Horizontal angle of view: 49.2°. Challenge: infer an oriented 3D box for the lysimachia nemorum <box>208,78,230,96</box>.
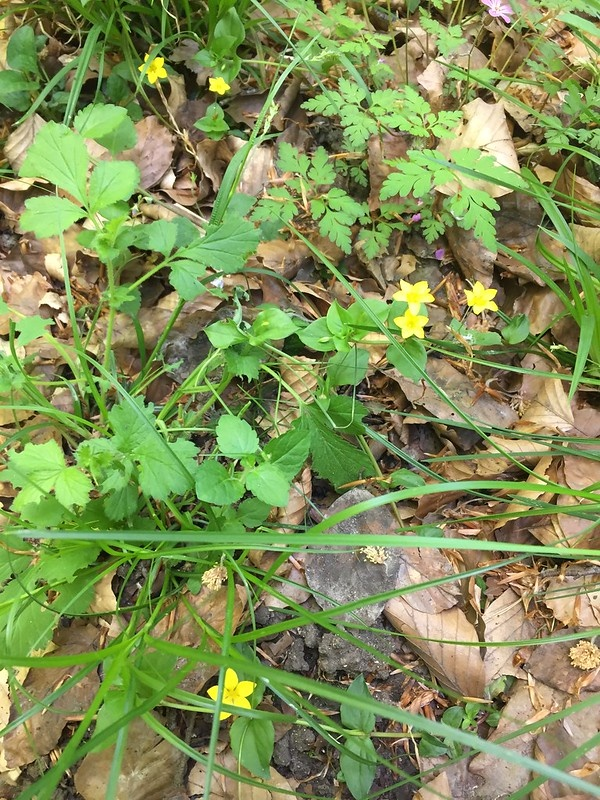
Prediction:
[{"bbox_3d":[-0.311,-1.207,2.519,0.073,0.062,0.081,5,40,-12],"label":"lysimachia nemorum"}]
